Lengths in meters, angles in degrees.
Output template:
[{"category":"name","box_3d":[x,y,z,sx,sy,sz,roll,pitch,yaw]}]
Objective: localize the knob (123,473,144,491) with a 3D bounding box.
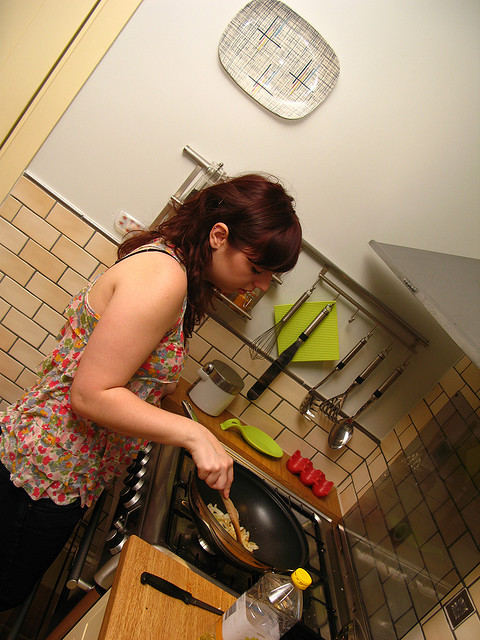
[{"category":"knob","box_3d":[-0.258,0.395,1.085,0.031,0.030,0.030,54,-6,0]}]

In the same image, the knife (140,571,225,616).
[{"category":"knife","box_3d":[-0.080,0.464,0.737,0.197,0.010,0.027,41,7,-23]}]

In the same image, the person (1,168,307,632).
[{"category":"person","box_3d":[-0.223,0.145,0.844,0.332,0.857,0.447,33,14,-34]}]

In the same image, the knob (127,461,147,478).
[{"category":"knob","box_3d":[-0.261,0.381,1.132,0.037,0.040,0.039,3,10,38]}]

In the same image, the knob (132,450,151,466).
[{"category":"knob","box_3d":[-0.257,0.365,1.173,0.031,0.022,0.031,4,18,5]}]

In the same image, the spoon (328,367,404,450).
[{"category":"spoon","box_3d":[0.434,0.318,1.543,0.080,0.391,0.075,42,12,5]}]

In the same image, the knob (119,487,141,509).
[{"category":"knob","box_3d":[-0.253,0.413,1.032,0.025,0.035,0.039,61,-26,-4]}]
